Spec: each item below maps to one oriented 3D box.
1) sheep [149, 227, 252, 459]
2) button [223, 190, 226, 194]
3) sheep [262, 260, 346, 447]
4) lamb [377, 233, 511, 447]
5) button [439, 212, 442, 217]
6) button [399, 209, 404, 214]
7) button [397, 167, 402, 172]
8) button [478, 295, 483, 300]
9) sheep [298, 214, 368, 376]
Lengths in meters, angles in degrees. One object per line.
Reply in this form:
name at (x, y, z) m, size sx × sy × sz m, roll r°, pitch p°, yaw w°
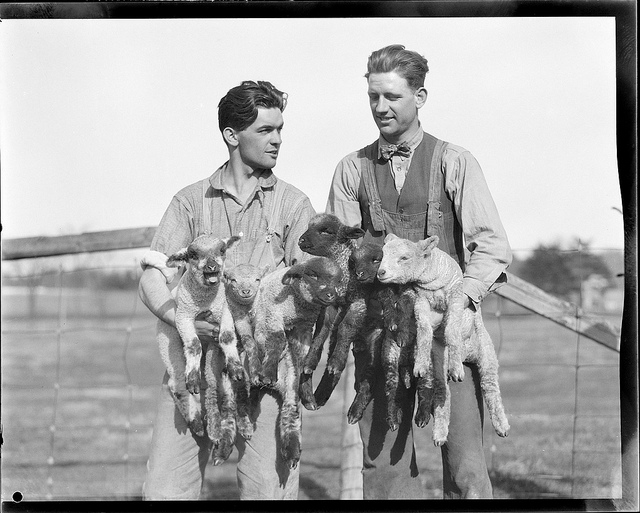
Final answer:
sheep at (-0.812, 0.621, 9.270) m, size 0.551 × 0.852 × 1.713 m, roll -12°, pitch -51°, yaw -24°
button at (-0.683, -0.468, 9.436) m, size 0.005 × 0.018 × 0.017 m, roll -2°, pitch -15°, yaw -21°
sheep at (-0.174, 0.505, 9.686) m, size 0.483 × 1.048 × 1.696 m, roll 3°, pitch 3°, yaw -13°
lamb at (0.866, 0.587, 9.332) m, size 0.511 × 1.417 × 0.923 m, roll -15°, pitch -25°, yaw 32°
button at (0.855, -0.306, 9.355) m, size 0.020 × 0.030 × 0.013 m, roll 5°, pitch -22°, yaw -16°
button at (0.579, -0.325, 9.375) m, size 0.033 × 0.032 × 0.009 m, roll -5°, pitch -21°, yaw 8°
button at (0.564, -0.629, 9.403) m, size 0.027 × 0.028 × 0.007 m, roll 0°, pitch -6°, yaw 1°
button at (1.126, 0.288, 9.268) m, size 0.032 × 0.025 × 0.040 m, roll -4°, pitch -21°, yaw 5°
sheep at (0.085, 0.014, 9.639) m, size 0.433 × 0.594 × 1.116 m, roll 17°, pitch 9°, yaw -4°
